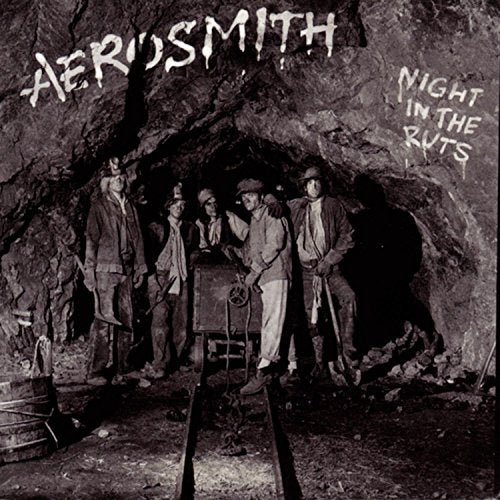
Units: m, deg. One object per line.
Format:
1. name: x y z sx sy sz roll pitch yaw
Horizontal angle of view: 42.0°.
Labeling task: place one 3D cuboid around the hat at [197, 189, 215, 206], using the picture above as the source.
1. hat: -0.583 -0.668 8.250 0.269 0.213 0.179 -2 -6 45

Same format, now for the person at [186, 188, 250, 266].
1. person: -0.386 -0.199 8.128 0.573 0.567 0.935 -3 28 -2

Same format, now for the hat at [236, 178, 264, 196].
1. hat: 0.013 -0.678 7.106 0.210 0.105 0.166 -2 1 -20

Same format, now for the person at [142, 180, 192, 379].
1. person: -1.019 0.388 8.229 0.581 2.345 1.234 2 -4 -9

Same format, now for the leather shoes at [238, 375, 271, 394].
1. leather shoes: 0.048 1.374 6.695 0.321 0.161 0.144 -31 -47 21

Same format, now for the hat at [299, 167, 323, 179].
1. hat: 0.709 -0.858 7.430 0.197 0.167 0.207 2 -4 13

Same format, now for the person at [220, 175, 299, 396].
1. person: 0.098 0.495 7.215 0.844 3.221 1.061 3 -25 -7
